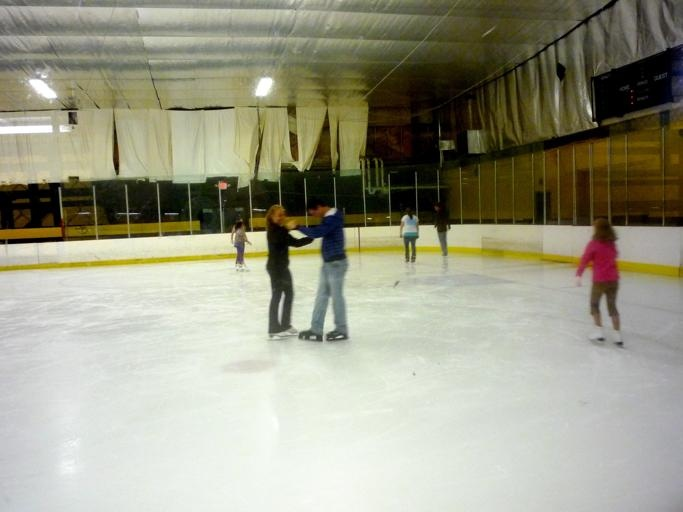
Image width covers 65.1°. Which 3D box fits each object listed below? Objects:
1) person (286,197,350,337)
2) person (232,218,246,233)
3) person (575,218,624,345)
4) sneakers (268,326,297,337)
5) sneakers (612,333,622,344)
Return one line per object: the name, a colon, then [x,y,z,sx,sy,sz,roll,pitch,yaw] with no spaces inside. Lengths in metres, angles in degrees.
person: [-0.240,0.208,7.090,0.641,1.949,0.942,-2,13,-3]
person: [-3.189,-0.985,16.568,0.286,0.446,1.024,-5,13,-16]
person: [3.268,0.309,6.662,0.580,1.547,0.709,5,15,26]
sneakers: [-0.796,1.048,7.464,0.145,0.136,0.347,-5,-10,33]
sneakers: [3.384,1.005,6.552,0.118,0.147,0.085,-1,-11,5]
